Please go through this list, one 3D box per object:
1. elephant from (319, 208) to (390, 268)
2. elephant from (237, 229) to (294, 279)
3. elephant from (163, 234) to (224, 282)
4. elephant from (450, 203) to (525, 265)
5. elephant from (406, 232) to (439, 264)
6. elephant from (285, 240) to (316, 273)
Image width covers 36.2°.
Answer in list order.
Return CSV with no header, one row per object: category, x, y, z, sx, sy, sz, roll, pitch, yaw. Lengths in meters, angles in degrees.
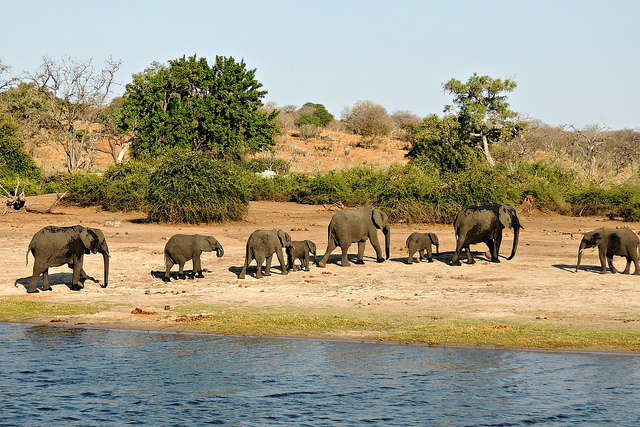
elephant,1.467,0.876,37.762,3.073,2.262,1.192,-2,6,-31
elephant,-1.817,1.361,35.471,0.877,1.752,2.727,1,1,40
elephant,-4.526,1.523,34.939,2.149,1.687,0.870,-3,8,-20
elephant,6.376,0.745,37.949,2.842,2.347,1.337,-2,7,-18
elephant,3.997,1.259,38.032,2.051,1.186,0.694,-1,6,-44
elephant,-0.672,1.523,36.451,1.691,1.105,0.585,-3,2,-44
